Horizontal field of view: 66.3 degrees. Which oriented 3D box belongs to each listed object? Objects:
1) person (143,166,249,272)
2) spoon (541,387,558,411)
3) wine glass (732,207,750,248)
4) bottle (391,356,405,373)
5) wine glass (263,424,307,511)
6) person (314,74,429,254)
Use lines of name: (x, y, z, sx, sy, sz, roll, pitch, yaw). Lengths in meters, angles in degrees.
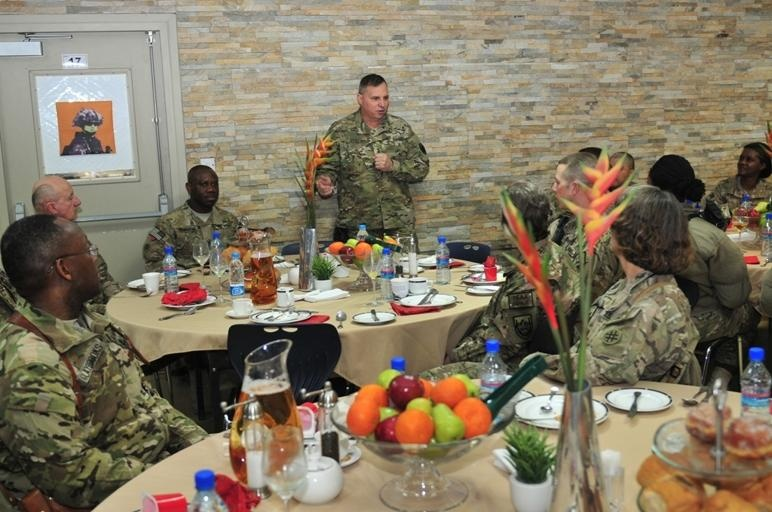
person: (-1.587, -0.290, 5.070, 0.569, 0.889, 1.028, 14, 15, 34)
spoon: (0.553, 0.486, 1.966, 0.033, 0.021, 0.134, 3, 27, 13)
wine glass: (2.878, -0.213, 4.822, 0.146, 0.250, 0.129, -3, -8, 4)
bottle: (0.039, 0.323, 1.729, 0.036, 0.042, 0.049, -8, 12, -11)
wine glass: (-0.250, 0.531, 1.492, 0.098, 0.180, 0.100, -6, 13, -1)
person: (-0.119, -0.870, 5.315, 0.980, 1.432, 0.391, -5, 13, 1)
